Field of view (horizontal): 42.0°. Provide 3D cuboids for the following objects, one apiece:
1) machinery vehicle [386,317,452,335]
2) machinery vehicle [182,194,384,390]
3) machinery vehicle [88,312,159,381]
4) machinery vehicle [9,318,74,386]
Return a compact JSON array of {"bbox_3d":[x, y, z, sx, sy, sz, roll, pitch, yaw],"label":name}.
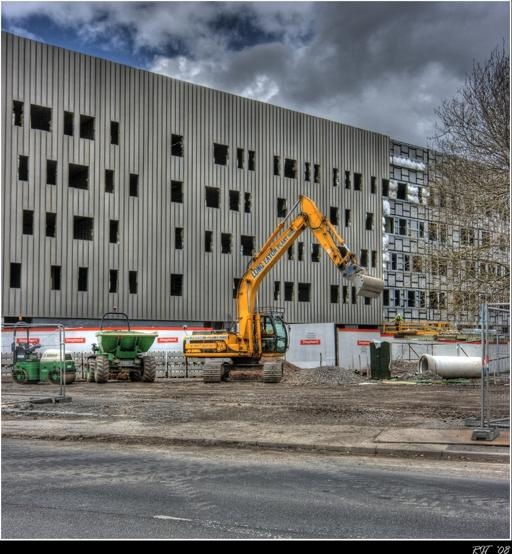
[{"bbox_3d":[11.315,3.537,47.013,4.505,1.369,14.774,-1,-6,11],"label":"machinery vehicle"},{"bbox_3d":[1.042,0.698,29.029,7.083,8.748,3.378,0,-16,7],"label":"machinery vehicle"},{"bbox_3d":[-6.142,3.228,30.180,2.418,3.390,5.076,1,-7,-22],"label":"machinery vehicle"},{"bbox_3d":[-8.164,2.884,25.026,1.751,2.346,1.432,2,-5,-18],"label":"machinery vehicle"}]
